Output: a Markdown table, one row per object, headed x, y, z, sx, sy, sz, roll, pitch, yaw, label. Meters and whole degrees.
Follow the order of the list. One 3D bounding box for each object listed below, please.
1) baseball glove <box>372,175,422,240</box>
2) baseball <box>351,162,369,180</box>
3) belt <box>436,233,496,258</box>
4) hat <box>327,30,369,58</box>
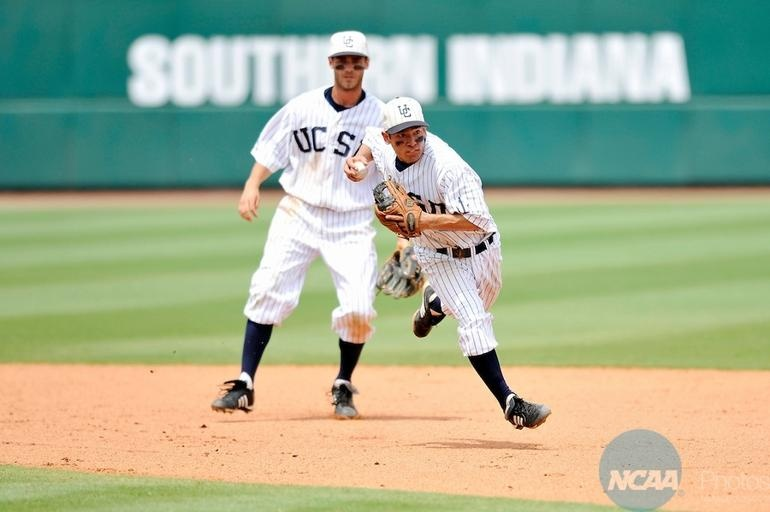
| x | y | z | sx | sy | sz | roll | pitch | yaw | label |
| --- | --- | --- | --- | --- | --- | --- | --- | --- | --- |
| 0.092 | -0.392 | 8.050 | 0.193 | 0.450 | 0.275 | -37 | -16 | -42 | baseball glove |
| -0.212 | -0.680 | 8.374 | 0.065 | 0.105 | 0.104 | 42 | -7 | -5 | baseball |
| 0.621 | -0.091 | 8.277 | 0.453 | 0.199 | 0.117 | 2 | -7 | -1 | belt |
| -0.293 | -1.754 | 8.741 | 0.262 | 0.174 | 0.358 | 0 | -2 | 2 | hat |
